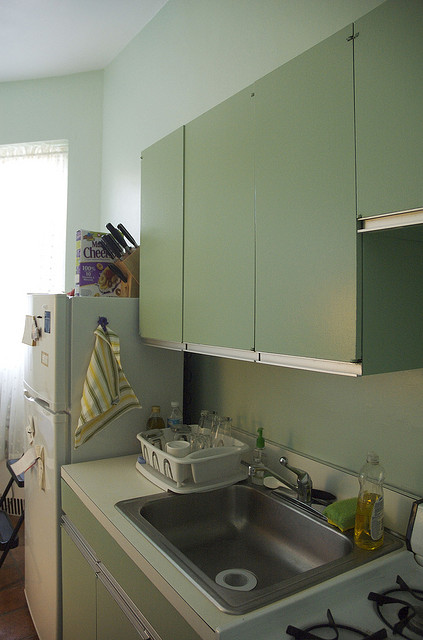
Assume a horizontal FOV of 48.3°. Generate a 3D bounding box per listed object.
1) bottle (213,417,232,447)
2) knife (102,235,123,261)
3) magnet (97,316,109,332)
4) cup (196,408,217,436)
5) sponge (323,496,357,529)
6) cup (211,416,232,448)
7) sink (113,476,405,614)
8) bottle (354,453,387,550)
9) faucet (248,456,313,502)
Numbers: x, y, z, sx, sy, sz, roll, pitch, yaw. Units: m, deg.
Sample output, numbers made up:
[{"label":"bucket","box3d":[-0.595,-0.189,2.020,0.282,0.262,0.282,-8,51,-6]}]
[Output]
[{"label":"bottle","box3d":[0.039,0.385,1.619,0.066,0.061,0.042,2,-1,21]},{"label":"knife","box3d":[-0.388,-0.282,1.845,0.035,0.136,0.038,-41,14,-21]},{"label":"magnet","box3d":[-0.394,0.012,1.712,0.031,0.047,0.024,-32,-3,13]},{"label":"cup","box3d":[-0.019,0.363,1.713,0.069,0.131,0.072,6,-2,0]},{"label":"sponge","box3d":[0.318,0.481,1.167,0.066,0.023,0.047,7,-6,-39]},{"label":"cup","box3d":[0.037,0.384,1.614,0.079,0.146,0.081,2,-12,0]},{"label":"sink","box3d":[-0.012,0.618,1.310,0.416,0.165,0.343,-5,5,-19]},{"label":"bottle","box3d":[0.384,0.415,1.134,0.073,0.216,0.170,2,-2,19]},{"label":"faucet","box3d":[0.204,0.462,1.431,0.056,0.105,0.255,4,-1,-33]}]
